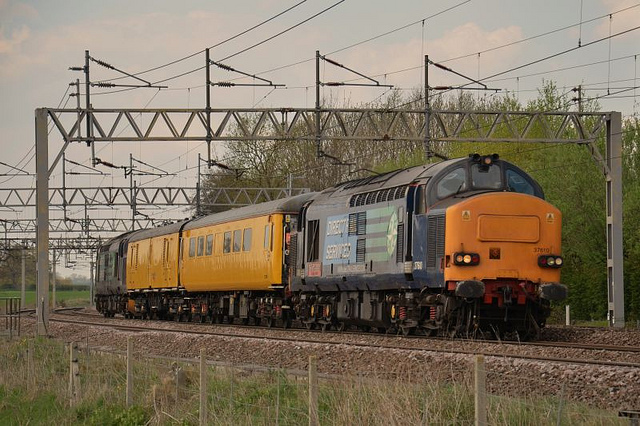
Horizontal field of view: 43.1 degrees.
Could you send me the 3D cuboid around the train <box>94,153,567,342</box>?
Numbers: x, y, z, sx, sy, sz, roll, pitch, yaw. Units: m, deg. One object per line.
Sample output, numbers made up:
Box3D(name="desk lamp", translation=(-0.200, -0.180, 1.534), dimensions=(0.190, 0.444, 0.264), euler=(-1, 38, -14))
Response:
Box3D(name="train", translation=(-2.723, 2.224, 35.632), dimensions=(4.255, 5.353, 31.894), euler=(5, -7, -31))
